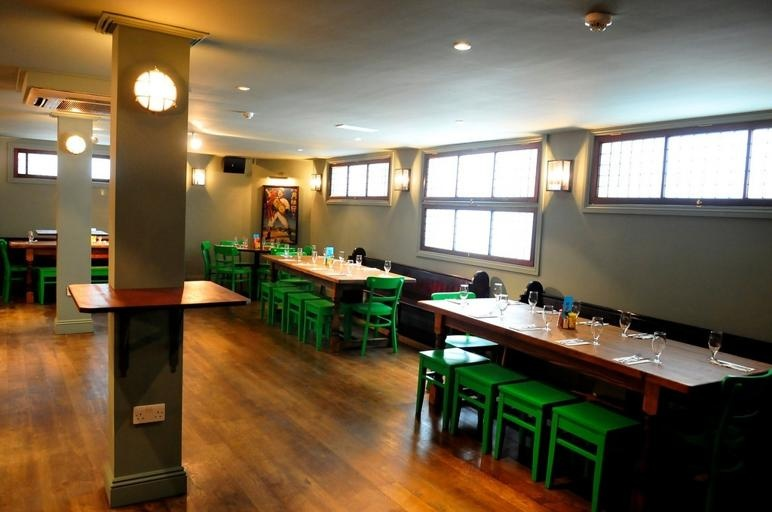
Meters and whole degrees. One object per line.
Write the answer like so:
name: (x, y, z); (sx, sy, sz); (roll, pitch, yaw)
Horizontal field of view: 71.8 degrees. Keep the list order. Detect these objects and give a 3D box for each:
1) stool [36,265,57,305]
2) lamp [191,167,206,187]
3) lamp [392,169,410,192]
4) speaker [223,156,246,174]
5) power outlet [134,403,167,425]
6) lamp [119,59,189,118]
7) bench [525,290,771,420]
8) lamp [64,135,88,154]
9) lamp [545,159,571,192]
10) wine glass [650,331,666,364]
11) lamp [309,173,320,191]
stool: (-6.159, 0.508, 9.642); (0.279, 0.653, 0.708); (-2, 8, -35)
lamp: (-4.345, -1.837, 12.372); (0.326, 0.411, 0.198); (0, 8, -27)
lamp: (0.285, -1.404, 9.827); (0.172, 0.427, 0.389); (-1, 7, -29)
speaker: (-3.655, -2.163, 12.785); (0.645, 0.441, 0.343); (1, 18, -26)
power outlet: (-1.942, 1.299, 4.375); (0.244, 0.163, 0.029); (1, 7, -19)
lamp: (-1.902, -1.377, 4.360); (0.511, 0.431, 0.123); (0, 7, -24)
bench: (2.206, 1.000, 4.997); (2.077, 0.635, 1.050); (9, 8, 43)
lamp: (-4.275, -1.543, 7.348); (0.245, 0.239, 0.056); (-8, 13, -41)
lamp: (2.364, -1.095, 7.306); (0.141, 0.422, 0.356); (-2, 8, -36)
wine glass: (2.387, 0.784, 4.671); (0.086, 0.252, 0.293); (7, 7, 27)
lamp: (-1.624, -1.704, 12.402); (0.199, 0.403, 0.281); (0, 7, -28)
